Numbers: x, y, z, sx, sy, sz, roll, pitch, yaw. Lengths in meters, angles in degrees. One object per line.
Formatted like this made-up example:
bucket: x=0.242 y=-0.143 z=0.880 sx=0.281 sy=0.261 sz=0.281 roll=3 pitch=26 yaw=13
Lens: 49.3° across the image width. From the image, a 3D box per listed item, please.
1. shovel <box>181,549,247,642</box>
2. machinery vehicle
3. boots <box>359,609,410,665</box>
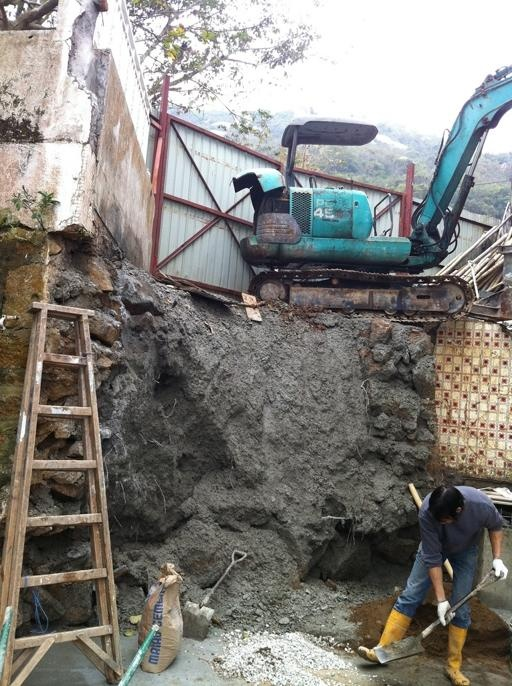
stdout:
shovel: x=-0.343 y=2.063 z=4.377 sx=0.291 sy=0.412 sz=0.334 roll=24 pitch=2 yaw=-21
machinery vehicle: x=1.238 y=-1.697 z=9.785 sx=4.492 sy=3.690 sz=5.134 roll=13 pitch=7 yaw=42
boots: x=0.968 y=2.136 z=4.026 sx=0.149 sy=0.258 sz=0.352 roll=34 pitch=51 yaw=0
